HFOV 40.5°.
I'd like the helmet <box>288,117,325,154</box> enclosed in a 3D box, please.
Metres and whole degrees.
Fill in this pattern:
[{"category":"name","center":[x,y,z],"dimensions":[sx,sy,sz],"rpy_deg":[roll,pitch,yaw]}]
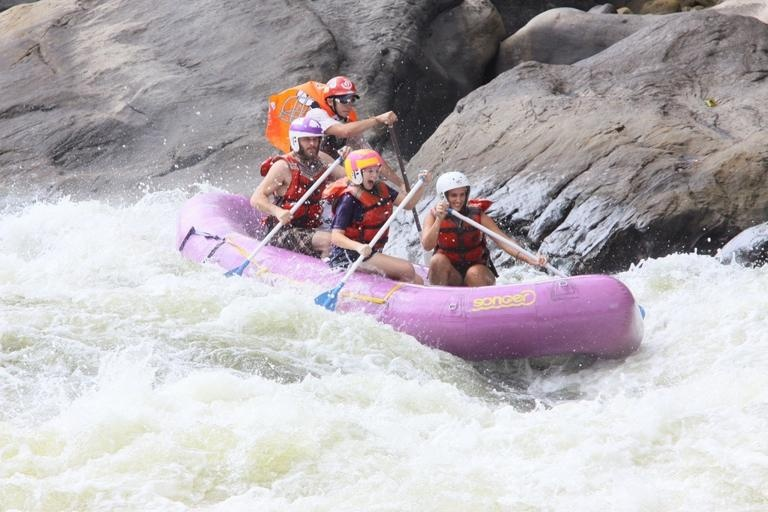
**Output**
[{"category":"helmet","center":[-0.914,-1.431,11.741],"dimensions":[0.402,0.318,0.264],"rpy_deg":[-18,47,0]}]

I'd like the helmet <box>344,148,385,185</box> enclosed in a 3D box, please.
[{"category":"helmet","center":[-0.246,-0.984,11.110],"dimensions":[0.431,0.294,0.320],"rpy_deg":[-9,0,25]}]

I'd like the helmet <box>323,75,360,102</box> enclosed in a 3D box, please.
[{"category":"helmet","center":[-0.528,-2.047,12.488],"dimensions":[0.386,0.192,0.286],"rpy_deg":[4,12,38]}]

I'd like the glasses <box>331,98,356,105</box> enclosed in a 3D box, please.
[{"category":"glasses","center":[-0.511,-1.893,12.488],"dimensions":[0.156,0.041,0.152],"rpy_deg":[-1,0,-35]}]

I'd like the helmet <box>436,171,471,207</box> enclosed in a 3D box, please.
[{"category":"helmet","center":[0.749,-0.760,11.101],"dimensions":[0.337,0.342,0.397],"rpy_deg":[-1,-3,-31]}]
